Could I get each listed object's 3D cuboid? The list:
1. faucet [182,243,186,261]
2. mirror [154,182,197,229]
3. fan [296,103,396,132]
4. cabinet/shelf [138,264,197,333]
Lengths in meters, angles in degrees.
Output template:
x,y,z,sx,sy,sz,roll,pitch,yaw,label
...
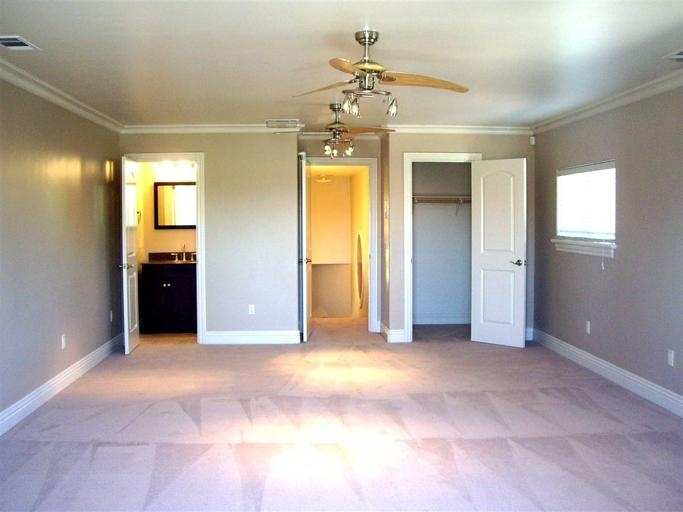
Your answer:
x,y,z,sx,sy,sz,roll,pitch,yaw,label
-2.320,-0.060,7.434,0.060,0.237,0.091,-3,9,-21,faucet
-2.469,-0.756,7.421,0.736,0.696,0.070,0,-1,-6,mirror
0.057,-1.474,5.307,0.595,0.205,0.605,-4,13,-31,fan
-2.418,0.554,6.973,0.958,1.047,0.608,0,2,-4,cabinet/shelf
